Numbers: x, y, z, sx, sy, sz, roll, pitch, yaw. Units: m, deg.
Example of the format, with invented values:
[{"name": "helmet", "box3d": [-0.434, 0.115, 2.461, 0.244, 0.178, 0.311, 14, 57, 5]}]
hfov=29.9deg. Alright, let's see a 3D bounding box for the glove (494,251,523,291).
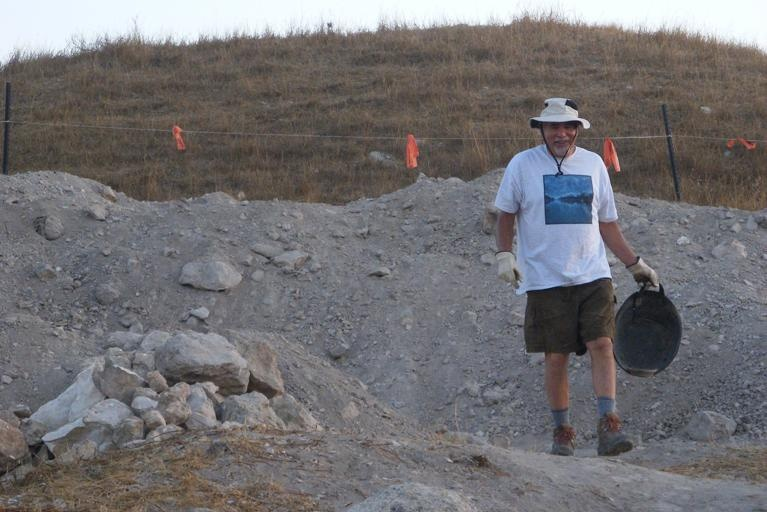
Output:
[{"name": "glove", "box3d": [1.988, 0.146, 22.188, 0.344, 0.579, 0.209, 12, 33, 37]}]
